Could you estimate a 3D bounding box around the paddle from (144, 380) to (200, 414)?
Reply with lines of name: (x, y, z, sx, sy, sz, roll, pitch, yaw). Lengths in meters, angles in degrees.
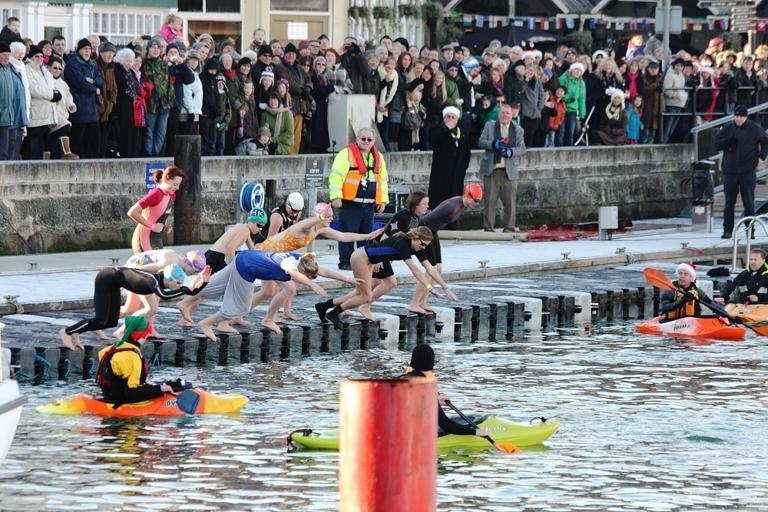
paddle: (-2.703, 1.849, 25.245, 0.515, 0.377, 0.190, 28, -24, -1)

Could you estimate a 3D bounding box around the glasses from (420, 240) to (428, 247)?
glasses: (0.593, -0.184, 28.282, 0.092, 0.028, 0.094, 4, 15, -21)

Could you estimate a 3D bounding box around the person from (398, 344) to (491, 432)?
person: (0.769, 1.712, 23.926, 0.665, 1.287, 1.073, 2, 7, 29)

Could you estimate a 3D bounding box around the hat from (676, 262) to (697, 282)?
hat: (4.806, 0.267, 30.266, 0.284, 0.301, 0.655, 0, 6, 9)

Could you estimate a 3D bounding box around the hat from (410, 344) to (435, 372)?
hat: (0.467, 1.276, 23.622, 0.282, 0.348, 0.286, -1, 6, 1)

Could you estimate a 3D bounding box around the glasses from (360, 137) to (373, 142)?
glasses: (-0.285, -1.884, 30.939, 0.166, 0.091, 0.146, -2, 6, -8)

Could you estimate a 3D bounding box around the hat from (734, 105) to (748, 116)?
hat: (6.782, -2.736, 36.129, 0.207, 0.173, 0.225, 8, 16, 29)

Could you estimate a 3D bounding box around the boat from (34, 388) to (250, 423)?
boat: (-3.134, 1.841, 25.202, 2.919, 0.404, 0.861, -1, -1, -7)

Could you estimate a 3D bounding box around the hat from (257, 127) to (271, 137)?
hat: (-2.168, -2.261, 34.618, 0.163, 0.119, 0.156, -1, 6, -13)

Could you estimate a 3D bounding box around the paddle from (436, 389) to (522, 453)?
paddle: (1.229, 2.177, 24.729, 0.179, 1.302, 0.300, -44, 3, 36)

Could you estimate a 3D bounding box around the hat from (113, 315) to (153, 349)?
hat: (-3.312, 0.968, 25.029, 0.425, 0.410, 0.380, -2, 6, -10)
